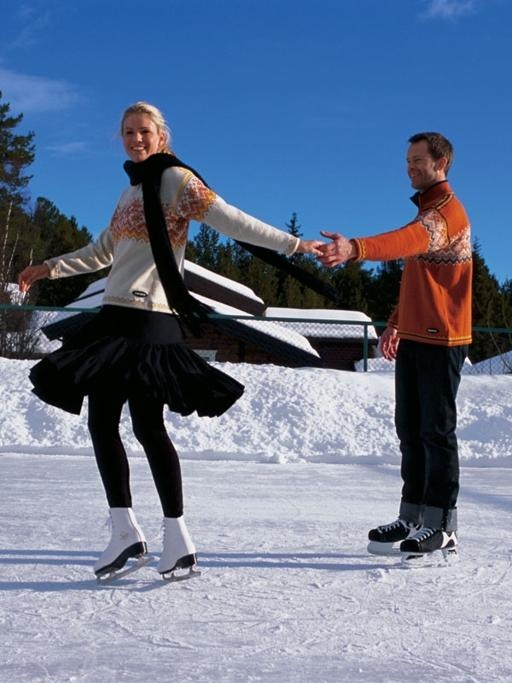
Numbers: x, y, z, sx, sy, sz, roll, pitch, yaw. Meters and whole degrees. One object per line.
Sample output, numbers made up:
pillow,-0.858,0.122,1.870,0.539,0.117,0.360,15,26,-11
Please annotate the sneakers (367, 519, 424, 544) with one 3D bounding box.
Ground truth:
sneakers,0.638,0.891,3.500,0.293,0.106,0.095,7,9,-36

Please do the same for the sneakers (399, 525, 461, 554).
sneakers,0.798,0.911,3.328,0.304,0.119,0.117,1,0,-26

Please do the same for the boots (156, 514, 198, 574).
boots,-0.299,0.778,2.800,0.146,0.180,0.149,1,0,-15

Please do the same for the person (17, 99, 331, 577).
person,-0.401,-0.050,2.937,0.924,1.451,0.481,1,0,-15
